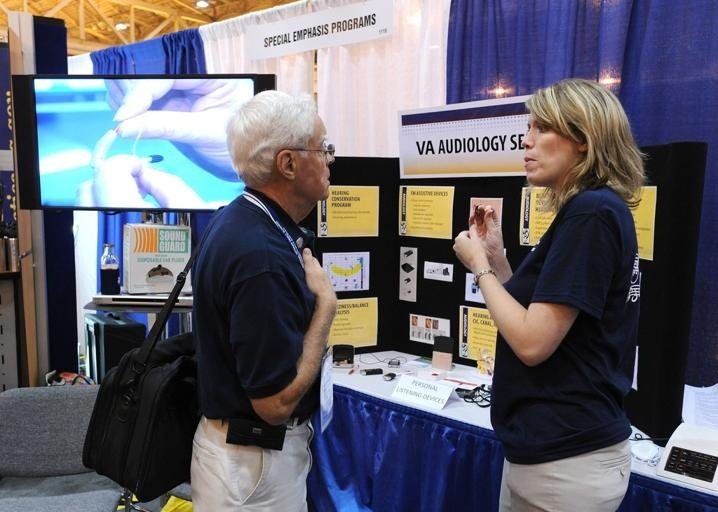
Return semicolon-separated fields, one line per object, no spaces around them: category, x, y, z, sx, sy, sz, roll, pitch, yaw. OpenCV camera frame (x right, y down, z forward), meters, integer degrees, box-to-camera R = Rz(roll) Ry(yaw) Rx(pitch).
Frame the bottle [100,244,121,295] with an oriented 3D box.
bottle;-1.380;0.073;3.282;0.101;0.263;0.269;-5;7;-23

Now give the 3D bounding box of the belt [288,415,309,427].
belt;-0.196;0.534;1.909;0.036;0.020;0.051;-3;-7;31

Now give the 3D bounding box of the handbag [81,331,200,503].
handbag;-0.677;0.458;2.067;0.336;0.630;0.449;6;-3;16
